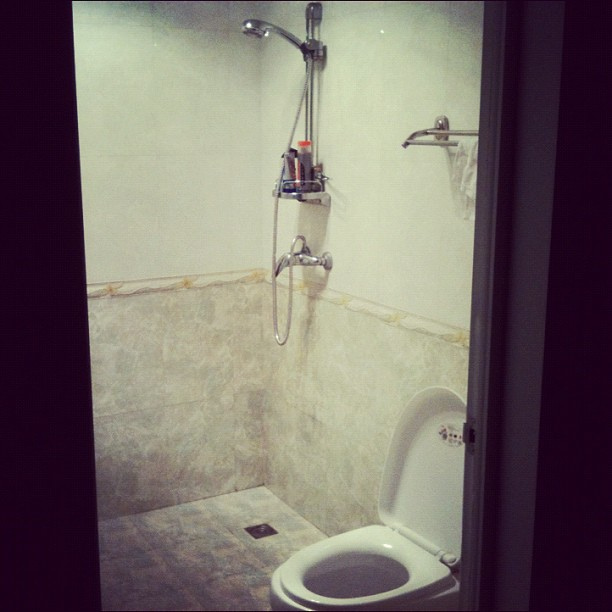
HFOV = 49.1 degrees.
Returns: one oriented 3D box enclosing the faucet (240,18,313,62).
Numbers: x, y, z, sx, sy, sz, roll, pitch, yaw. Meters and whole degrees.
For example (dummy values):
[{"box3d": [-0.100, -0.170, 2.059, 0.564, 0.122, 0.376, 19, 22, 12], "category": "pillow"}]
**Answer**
[{"box3d": [-0.072, -0.670, 1.674, 0.191, 0.081, 0.059, -2, 11, -31], "category": "faucet"}]
